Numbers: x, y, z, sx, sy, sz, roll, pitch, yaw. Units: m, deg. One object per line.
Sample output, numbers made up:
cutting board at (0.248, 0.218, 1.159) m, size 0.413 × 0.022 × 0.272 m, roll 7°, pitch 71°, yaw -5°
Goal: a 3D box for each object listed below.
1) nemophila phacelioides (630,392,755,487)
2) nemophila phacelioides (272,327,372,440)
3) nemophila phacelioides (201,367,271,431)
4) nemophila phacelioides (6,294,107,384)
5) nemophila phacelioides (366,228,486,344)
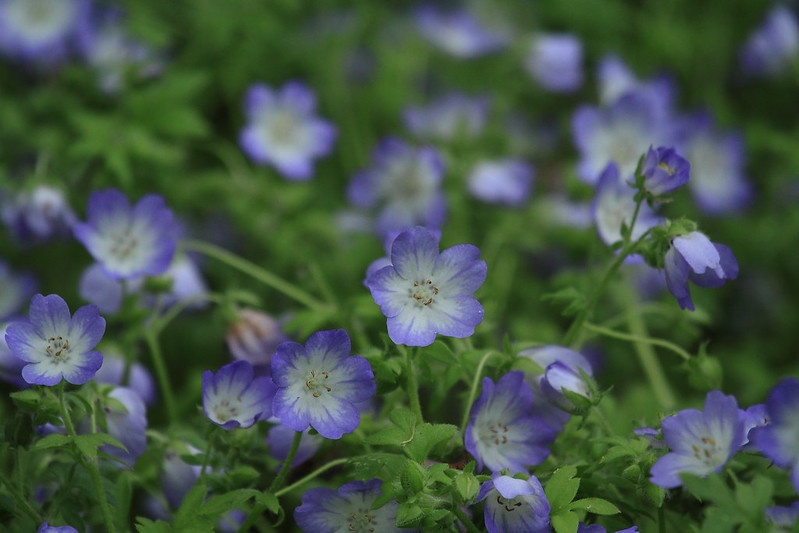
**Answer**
nemophila phacelioides at (0.563, 0.336, 1.563) m, size 0.199 × 0.093 × 0.179 m, roll -35°, pitch 27°, yaw -25°
nemophila phacelioides at (-0.143, 0.225, 1.598) m, size 0.196 × 0.117 × 0.170 m, roll -2°, pitch 54°, yaw -9°
nemophila phacelioides at (-0.319, 0.254, 1.657) m, size 0.107 × 0.081 × 0.139 m, roll 23°, pitch 70°, yaw -14°
nemophila phacelioides at (-0.657, 0.145, 1.656) m, size 0.151 × 0.075 × 0.192 m, roll 8°, pitch 75°, yaw -2°
nemophila phacelioides at (0.061, 0.015, 1.680) m, size 0.206 × 0.252 × 0.078 m, roll 2°, pitch 54°, yaw 28°
